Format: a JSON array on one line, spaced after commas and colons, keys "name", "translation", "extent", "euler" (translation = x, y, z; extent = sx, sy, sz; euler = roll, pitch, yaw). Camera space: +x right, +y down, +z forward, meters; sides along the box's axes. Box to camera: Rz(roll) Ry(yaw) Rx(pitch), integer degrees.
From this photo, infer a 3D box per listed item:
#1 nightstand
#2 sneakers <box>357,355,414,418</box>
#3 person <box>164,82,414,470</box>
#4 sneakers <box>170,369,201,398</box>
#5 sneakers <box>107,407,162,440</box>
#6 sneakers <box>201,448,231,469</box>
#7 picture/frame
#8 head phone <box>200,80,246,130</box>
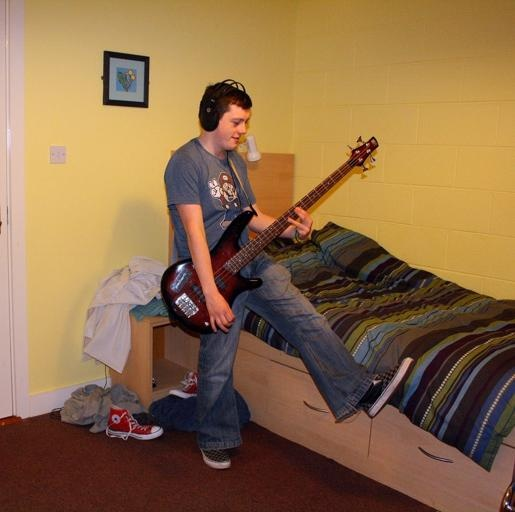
[{"name": "nightstand", "translation": [-0.500, 0.498, 2.445], "extent": [0.406, 0.491, 0.522], "euler": [7, 11, 38]}, {"name": "sneakers", "translation": [0.436, 0.453, 1.585], "extent": [0.168, 0.222, 0.077], "euler": [5, 9, 17]}, {"name": "person", "translation": [0.127, 0.055, 1.697], "extent": [1.004, 1.354, 0.584], "euler": [1, 5, 17]}, {"name": "sneakers", "translation": [-0.335, 0.638, 2.309], "extent": [0.108, 0.120, 0.261], "euler": [-5, -12, 37]}, {"name": "sneakers", "translation": [-0.528, 0.724, 2.021], "extent": [0.243, 0.123, 0.109], "euler": [2, 11, -6]}, {"name": "sneakers", "translation": [-0.160, 0.787, 1.784], "extent": [0.048, 0.042, 0.118], "euler": [-2, 5, -44]}, {"name": "picture/frame", "translation": [-0.665, -0.899, 2.302], "extent": [0.322, 0.316, 0.024], "euler": [-6, 13, -42]}, {"name": "head phone", "translation": [-0.122, -0.571, 1.737], "extent": [0.192, 0.202, 0.126], "euler": [1, 8, -7]}]
